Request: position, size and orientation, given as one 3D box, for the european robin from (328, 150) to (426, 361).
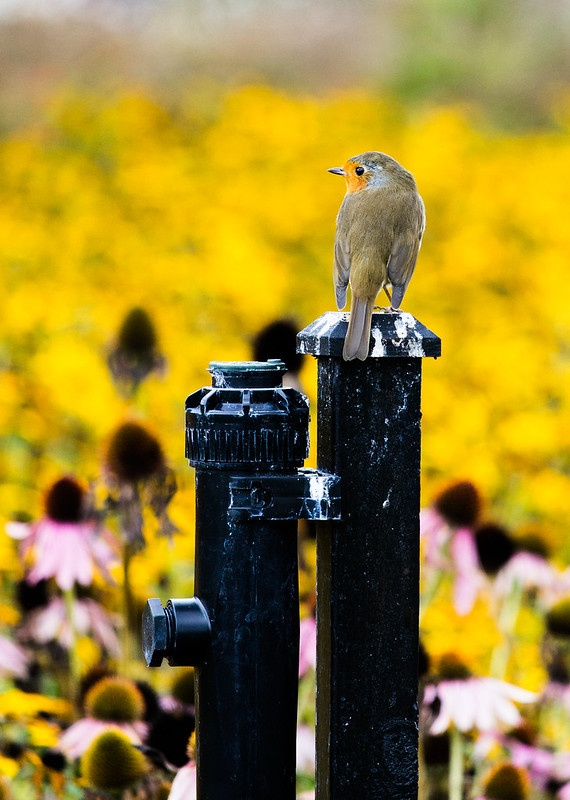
[{"bbox_3d":[0.228,-0.411,4.476,0.231,0.375,0.332,0,1,1],"label":"european robin"}]
